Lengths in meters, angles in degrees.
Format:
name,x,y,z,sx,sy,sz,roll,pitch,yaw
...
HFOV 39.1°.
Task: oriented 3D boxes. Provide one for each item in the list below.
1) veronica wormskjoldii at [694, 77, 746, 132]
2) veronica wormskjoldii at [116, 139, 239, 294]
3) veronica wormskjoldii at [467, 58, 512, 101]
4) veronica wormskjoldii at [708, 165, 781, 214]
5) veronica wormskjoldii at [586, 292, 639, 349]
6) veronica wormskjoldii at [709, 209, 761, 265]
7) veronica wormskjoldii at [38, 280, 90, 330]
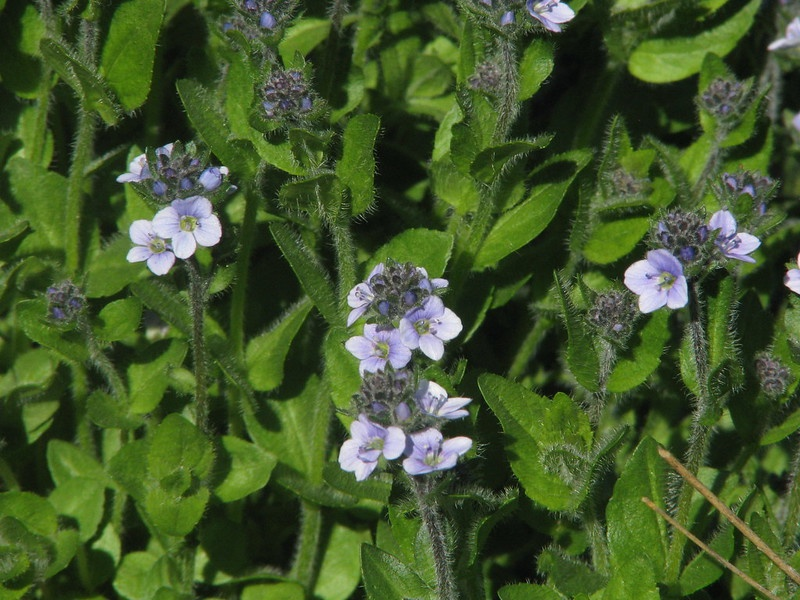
name,x,y,z,sx,sy,sz,roll,pitch,yaw
veronica wormskjoldii,1.491,-0.939,5.225,0.225,0.182,0.211,31,61,18
veronica wormskjoldii,-0.934,-0.401,4.677,0.454,0.274,0.539,26,46,-5
veronica wormskjoldii,0.405,-1.014,5.125,0.162,0.088,0.209,-10,88,3
veronica wormskjoldii,1.513,-0.503,4.984,0.222,0.165,0.198,-4,23,-45
veronica wormskjoldii,0.922,0.074,5.020,0.198,0.139,0.230,-37,84,-11
veronica wormskjoldii,1.348,-0.259,4.605,0.189,0.095,0.213,16,45,-28
veronica wormskjoldii,-1.492,0.047,5.031,0.186,0.207,0.196,-17,57,-12
